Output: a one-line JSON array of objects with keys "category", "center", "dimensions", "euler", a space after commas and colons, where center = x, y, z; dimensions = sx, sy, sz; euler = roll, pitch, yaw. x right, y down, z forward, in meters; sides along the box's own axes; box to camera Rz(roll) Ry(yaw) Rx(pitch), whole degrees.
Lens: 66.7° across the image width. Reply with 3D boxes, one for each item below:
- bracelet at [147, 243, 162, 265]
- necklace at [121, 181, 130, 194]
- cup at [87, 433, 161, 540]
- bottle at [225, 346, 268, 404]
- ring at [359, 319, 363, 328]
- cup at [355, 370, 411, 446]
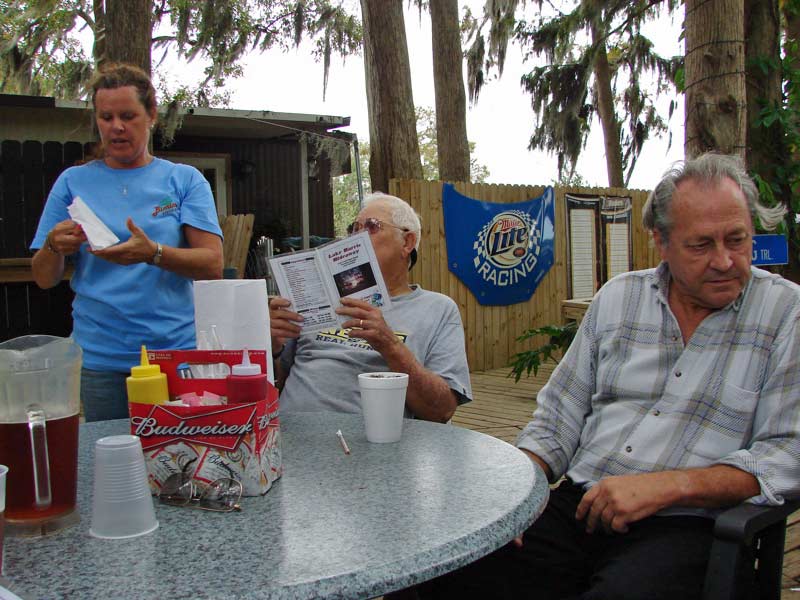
[{"category": "bracelet", "center": [-1.044, -0.186, 2.635], "dimensions": [0.052, 0.080, 0.081], "euler": [7, -19, -17]}, {"category": "necklace", "center": [-1.251, -0.506, 2.793], "dimensions": [0.038, 0.038, 0.027], "euler": [16, -11, 4]}, {"category": "cup", "center": [-0.585, 0.397, 1.301], "dimensions": [0.133, 0.189, 0.138], "euler": [-1, 2, 0]}, {"category": "bottle", "center": [-0.360, 0.202, 1.446], "dimensions": [0.094, 0.165, 0.096], "euler": [-4, 1, 0]}, {"category": "ring", "center": [-0.148, 0.095, 2.315], "dimensions": [0.024, 0.030, 0.008], "euler": [0, 5, -3]}, {"category": "cup", "center": [-0.051, 0.334, 1.860], "dimensions": [0.177, 0.206, 0.181], "euler": [0, -2, 0]}]
